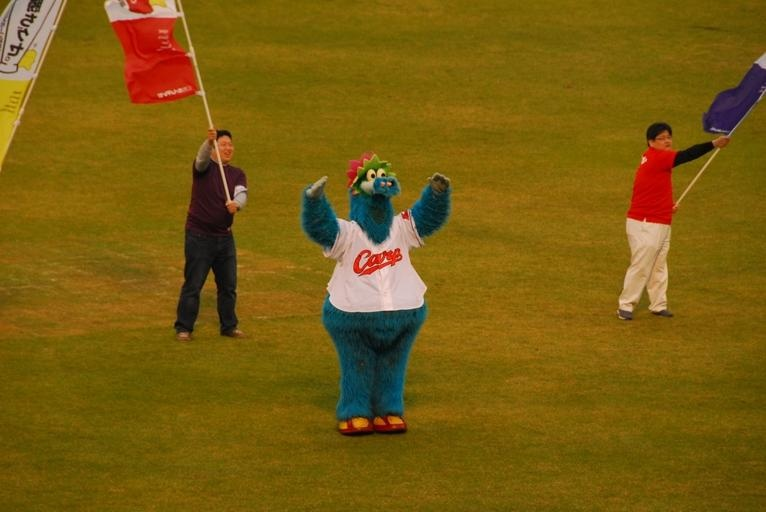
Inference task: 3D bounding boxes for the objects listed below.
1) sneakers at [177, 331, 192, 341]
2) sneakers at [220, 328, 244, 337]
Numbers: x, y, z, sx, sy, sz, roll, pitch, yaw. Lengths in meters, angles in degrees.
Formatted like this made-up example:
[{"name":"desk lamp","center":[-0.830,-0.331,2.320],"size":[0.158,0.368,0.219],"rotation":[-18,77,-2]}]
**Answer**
[{"name":"sneakers","center":[-2.554,1.023,22.696],"size":[0.147,0.084,0.229],"rotation":[1,-4,-12]},{"name":"sneakers","center":[-1.929,0.986,22.889],"size":[0.323,0.117,0.106],"rotation":[-1,8,2]}]
